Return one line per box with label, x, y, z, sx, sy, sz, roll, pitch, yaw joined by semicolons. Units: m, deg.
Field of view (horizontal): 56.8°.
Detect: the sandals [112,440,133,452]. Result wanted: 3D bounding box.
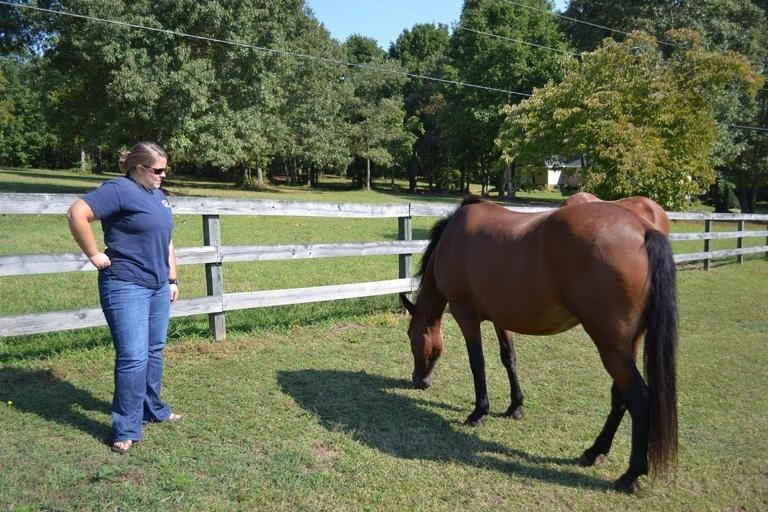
sandals;-4.491;3.280;12.181;0.164;0.131;0.311;-5;-3;40
